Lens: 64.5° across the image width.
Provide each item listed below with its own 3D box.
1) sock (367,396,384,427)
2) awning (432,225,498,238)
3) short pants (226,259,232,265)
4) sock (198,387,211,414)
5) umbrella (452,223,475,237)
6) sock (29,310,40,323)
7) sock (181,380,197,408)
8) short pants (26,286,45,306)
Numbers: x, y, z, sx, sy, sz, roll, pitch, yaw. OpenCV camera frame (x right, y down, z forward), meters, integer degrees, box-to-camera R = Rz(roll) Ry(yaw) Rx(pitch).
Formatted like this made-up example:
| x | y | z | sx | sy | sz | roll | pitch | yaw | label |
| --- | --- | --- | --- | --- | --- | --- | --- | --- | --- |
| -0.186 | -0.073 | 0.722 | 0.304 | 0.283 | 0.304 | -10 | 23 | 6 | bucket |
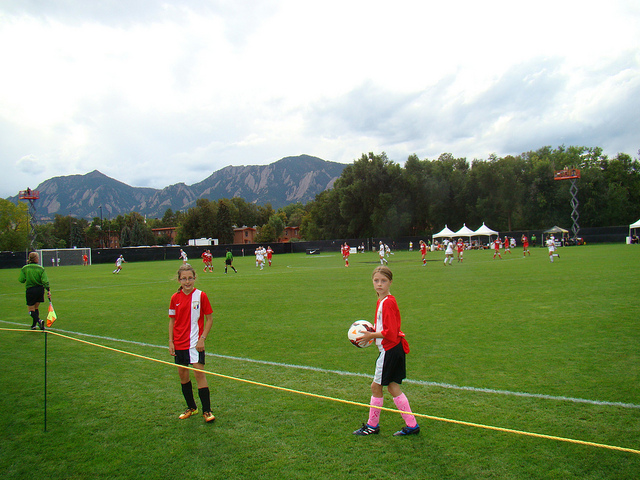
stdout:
| x | y | z | sx | sy | sz | roll | pitch | yaw | label |
| --- | --- | --- | --- | --- | --- | --- | --- | --- | --- |
| 0.823 | 2.518 | 7.505 | 0.231 | 0.453 | 0.295 | -2 | 0 | -14 | sock |
| 17.442 | -1.082 | 59.635 | 5.752 | 1.316 | 4.523 | -3 | 0 | 40 | awning |
| -5.876 | 1.402 | 32.560 | 0.289 | 0.329 | 0.421 | -2 | 0 | -12 | short pants |
| -1.830 | 2.522 | 8.035 | 0.151 | 0.401 | 0.207 | -2 | 0 | -15 | sock |
| 16.693 | -1.433 | 58.764 | 1.762 | 1.194 | 1.883 | -3 | -4 | 25 | umbrella |
| -7.881 | 2.105 | 13.964 | 0.248 | 0.365 | 0.189 | -2 | 0 | -6 | sock |
| -2.111 | 2.502 | 8.202 | 0.221 | 0.462 | 0.289 | -2 | 0 | -16 | sock |
| -7.854 | 1.533 | 13.995 | 0.435 | 0.559 | 0.419 | -2 | 0 | -33 | short pants |
